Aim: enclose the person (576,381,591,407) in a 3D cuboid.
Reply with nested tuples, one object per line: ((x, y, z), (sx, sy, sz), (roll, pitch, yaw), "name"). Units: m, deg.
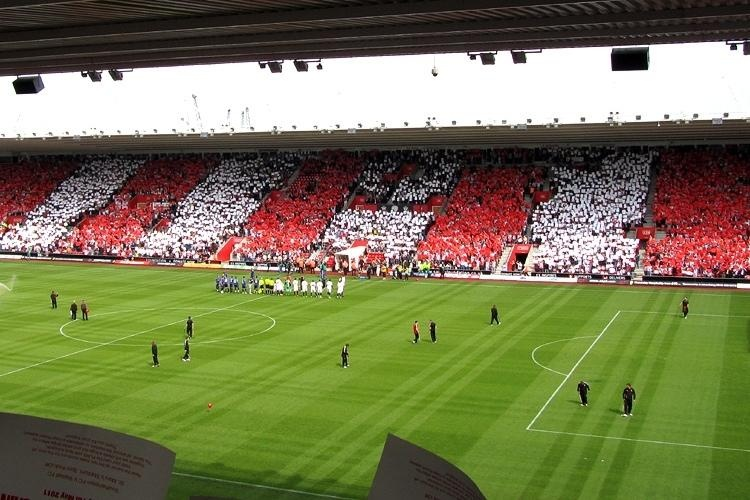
((7.396, 5.057, 22.921), (0.345, 0.743, 0.618), (6, 3, 22), "person")

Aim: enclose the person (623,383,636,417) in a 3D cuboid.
((8.761, 5.088, 22.262), (0.335, 0.982, 1.068), (6, 3, 24), "person")

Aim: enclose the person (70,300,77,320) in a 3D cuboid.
((-16.674, 3.304, 35.471), (0.317, 0.980, 1.332), (4, 2, -23), "person")

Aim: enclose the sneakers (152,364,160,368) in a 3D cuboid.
((-9.316, 4.858, 27.262), (0.302, 0.094, 0.328), (2, 3, -44), "sneakers")

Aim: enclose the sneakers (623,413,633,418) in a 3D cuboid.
((8.625, 5.629, 22.000), (0.369, 0.146, 0.122), (10, -8, -33), "sneakers")
